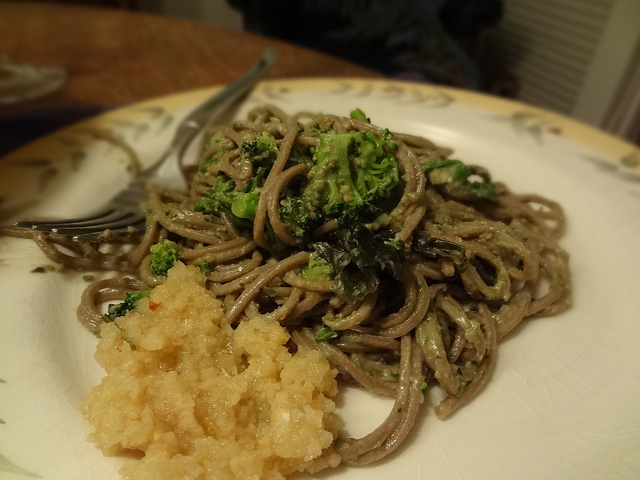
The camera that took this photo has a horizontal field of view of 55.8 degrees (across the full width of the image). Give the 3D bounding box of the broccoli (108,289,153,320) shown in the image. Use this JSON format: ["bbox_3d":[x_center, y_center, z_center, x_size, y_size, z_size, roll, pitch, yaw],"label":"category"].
[{"bbox_3d":[-1.424,0.549,4.614,0.264,0.077,0.272,-35,22,-35],"label":"broccoli"}]

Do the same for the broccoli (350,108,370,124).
[{"bbox_3d":[0.303,-0.983,4.791,0.128,0.076,0.207,-11,56,-8],"label":"broccoli"}]

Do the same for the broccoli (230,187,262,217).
[{"bbox_3d":[-0.568,-0.294,4.542,0.211,0.108,0.237,-12,56,-8],"label":"broccoli"}]

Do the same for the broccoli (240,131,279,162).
[{"bbox_3d":[-0.442,-0.708,4.631,0.244,0.062,0.227,10,63,-1],"label":"broccoli"}]

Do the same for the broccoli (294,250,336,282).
[{"bbox_3d":[-0.033,0.178,4.530,0.219,0.089,0.241,-24,84,15],"label":"broccoli"}]
